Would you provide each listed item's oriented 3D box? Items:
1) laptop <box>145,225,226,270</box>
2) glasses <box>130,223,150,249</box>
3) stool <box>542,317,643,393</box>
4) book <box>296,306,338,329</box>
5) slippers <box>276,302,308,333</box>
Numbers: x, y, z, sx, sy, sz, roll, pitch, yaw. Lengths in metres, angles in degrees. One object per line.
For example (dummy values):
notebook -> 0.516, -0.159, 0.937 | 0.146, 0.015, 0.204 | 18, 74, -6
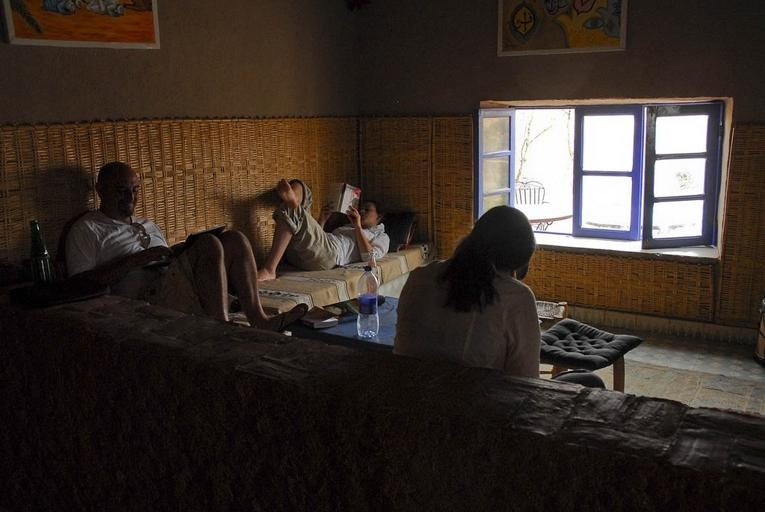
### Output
laptop -> -1.233, -0.041, 3.102 | 0.258, 0.307, 0.434 | 19, 4, 16
glasses -> -1.622, -0.136, 3.465 | 0.101, 0.194, 0.049 | -24, 3, 3
stool -> 1.264, 0.560, 3.134 | 0.529, 0.571, 0.530 | 5, 23, 24
book -> -0.385, 0.387, 3.170 | 0.140, 0.046, 0.136 | -5, 15, -37
slippers -> -0.528, 0.361, 3.043 | 0.170, 0.051, 0.166 | -29, -2, -37
